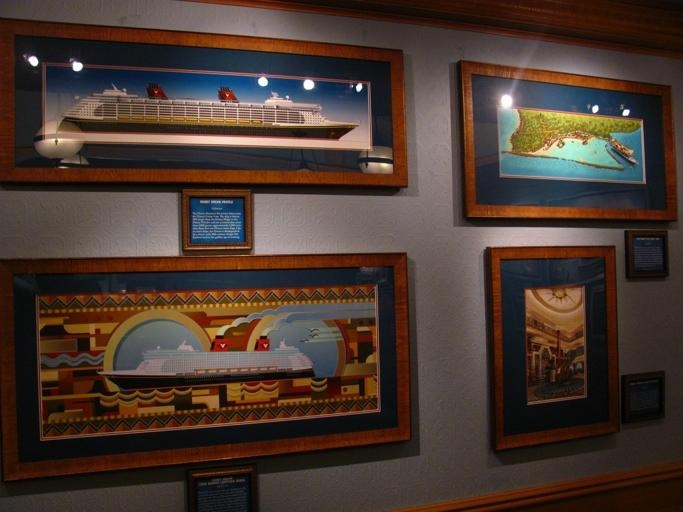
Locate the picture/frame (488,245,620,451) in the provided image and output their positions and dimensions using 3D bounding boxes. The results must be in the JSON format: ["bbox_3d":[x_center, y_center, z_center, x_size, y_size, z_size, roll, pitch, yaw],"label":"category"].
[{"bbox_3d":[0.915,0.410,2.714,0.889,1.175,0.062,-1,-1,-19],"label":"picture/frame"}]

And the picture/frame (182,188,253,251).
[{"bbox_3d":[-0.511,-0.148,2.447,0.246,0.218,0.029,0,-1,-9],"label":"picture/frame"}]

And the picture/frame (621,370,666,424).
[{"bbox_3d":[1.392,0.648,2.841,0.249,0.224,0.026,-1,-3,-27],"label":"picture/frame"}]

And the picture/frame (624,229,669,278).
[{"bbox_3d":[1.419,-0.017,2.865,0.224,0.229,0.023,0,-2,-18],"label":"picture/frame"}]
